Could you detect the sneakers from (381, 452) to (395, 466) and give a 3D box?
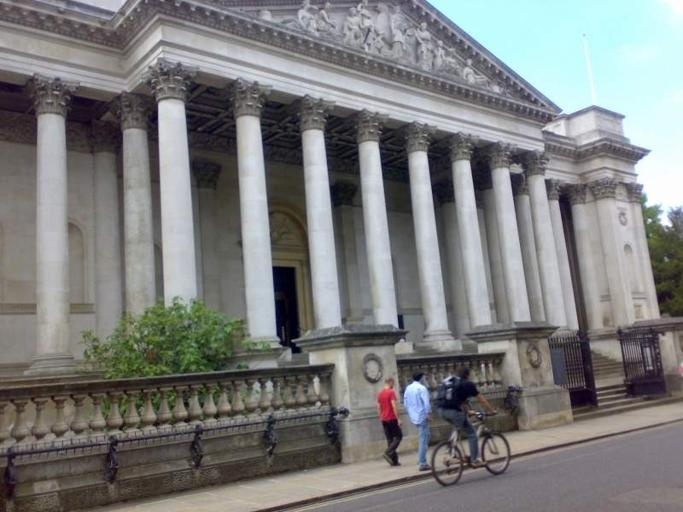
[{"bbox_3d":[1.144,5.049,16.022,0.169,0.430,0.154,-46,11,-13],"label":"sneakers"}]

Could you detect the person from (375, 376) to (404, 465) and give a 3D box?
[{"bbox_3d":[1.249,4.160,16.383,0.507,2.170,0.653,-5,-11,3],"label":"person"}]

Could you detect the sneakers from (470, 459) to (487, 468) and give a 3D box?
[{"bbox_3d":[2.983,4.481,13.995,0.417,0.189,0.153,-1,-6,-11],"label":"sneakers"}]

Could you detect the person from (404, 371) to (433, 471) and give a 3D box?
[{"bbox_3d":[1.902,3.923,15.484,0.552,2.257,0.818,-5,-11,0],"label":"person"}]

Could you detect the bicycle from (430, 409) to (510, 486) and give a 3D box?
[{"bbox_3d":[2.726,4.334,14.625,2.374,1.387,1.075,-3,-8,-27],"label":"bicycle"}]
